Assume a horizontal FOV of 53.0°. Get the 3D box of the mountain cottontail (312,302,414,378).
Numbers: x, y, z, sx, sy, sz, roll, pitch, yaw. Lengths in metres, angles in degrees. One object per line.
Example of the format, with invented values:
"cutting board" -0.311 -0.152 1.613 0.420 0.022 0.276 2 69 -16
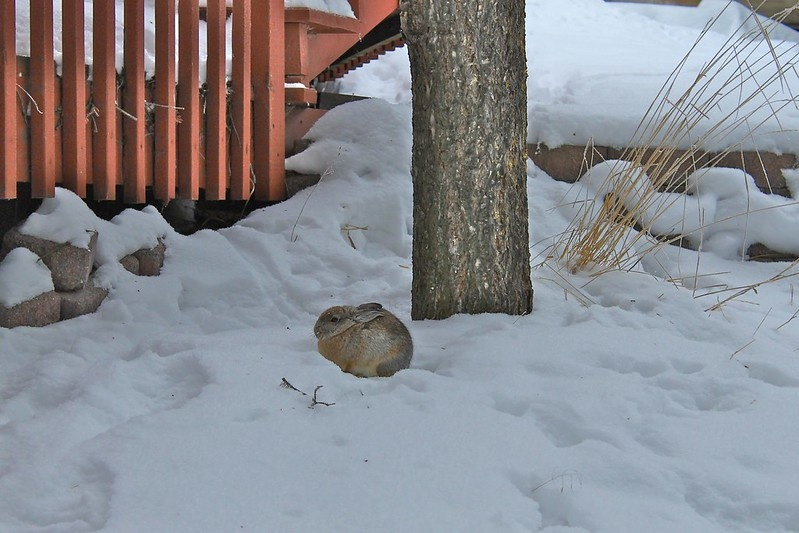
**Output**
"mountain cottontail" -0.194 0.434 4.572 0.588 0.489 0.442 0 -1 -15
